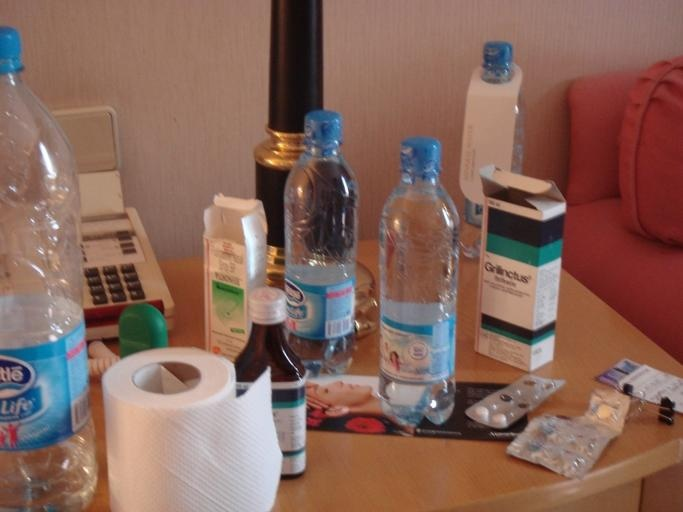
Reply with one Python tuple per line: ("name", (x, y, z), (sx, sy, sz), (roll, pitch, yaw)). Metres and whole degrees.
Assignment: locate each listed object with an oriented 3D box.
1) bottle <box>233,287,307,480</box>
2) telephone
("bottle", (-0.081, 0.145, 0.710), (0.083, 0.239, 0.058), (-2, 24, -5))
("telephone", (-0.383, -0.014, 1.027), (0.136, 0.127, 0.272), (-12, 40, -29))
